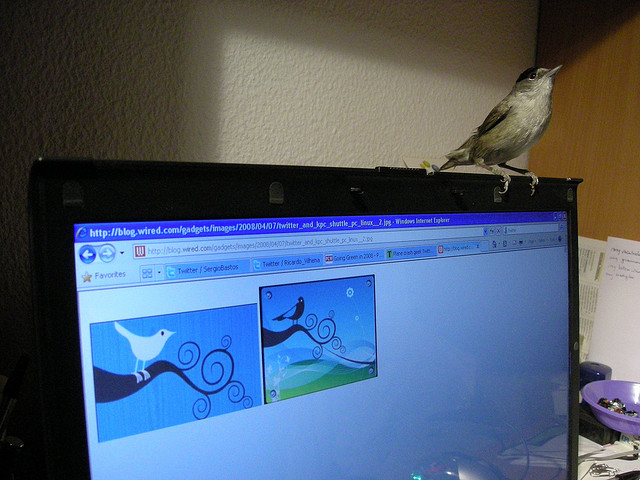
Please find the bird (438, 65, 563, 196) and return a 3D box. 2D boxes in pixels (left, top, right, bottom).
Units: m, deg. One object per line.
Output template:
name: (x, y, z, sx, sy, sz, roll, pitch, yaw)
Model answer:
bird: (0.289, -0.178, 0.846, 0.096, 0.197, 0.195, -9, 15, -39)
